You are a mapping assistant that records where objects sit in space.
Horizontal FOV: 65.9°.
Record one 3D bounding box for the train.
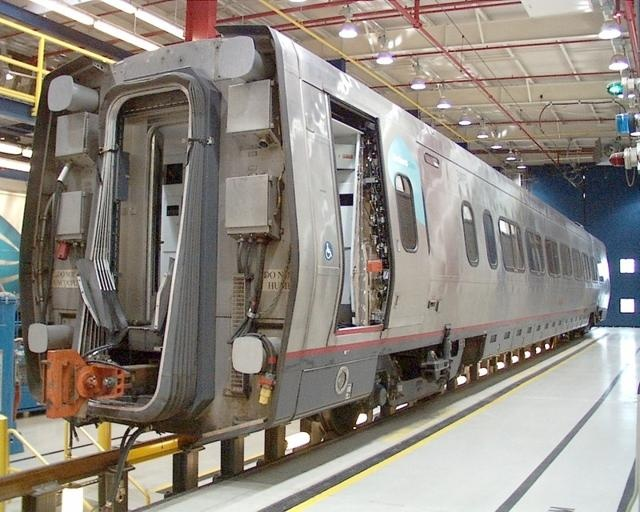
[{"bbox_3d":[1.185,-0.202,7.892,2.242,2.554,10.897,-1,0,30],"label":"train"}]
